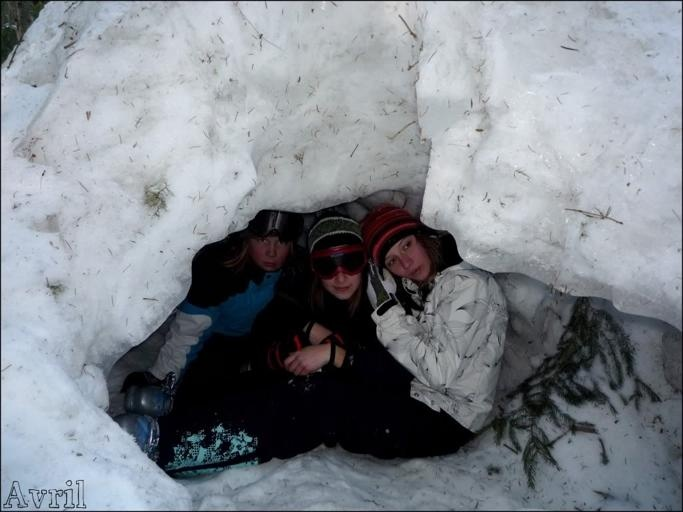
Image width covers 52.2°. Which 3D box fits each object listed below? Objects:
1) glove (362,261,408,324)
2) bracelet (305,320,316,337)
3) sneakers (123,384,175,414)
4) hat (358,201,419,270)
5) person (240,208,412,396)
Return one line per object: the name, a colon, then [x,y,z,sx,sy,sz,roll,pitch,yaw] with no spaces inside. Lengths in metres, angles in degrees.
glove: [0.255,0.226,4.376,0.196,0.135,0.364,12,37,-9]
bracelet: [-0.221,0.478,4.553,0.068,0.079,0.079,17,43,5]
sneakers: [-1.187,0.837,4.252,0.177,0.181,0.232,1,-2,25]
hat: [0.284,-0.133,4.391,0.265,0.308,0.386,45,8,6]
person: [-0.129,0.351,4.528,1.058,1.174,0.853,-5,26,-11]
